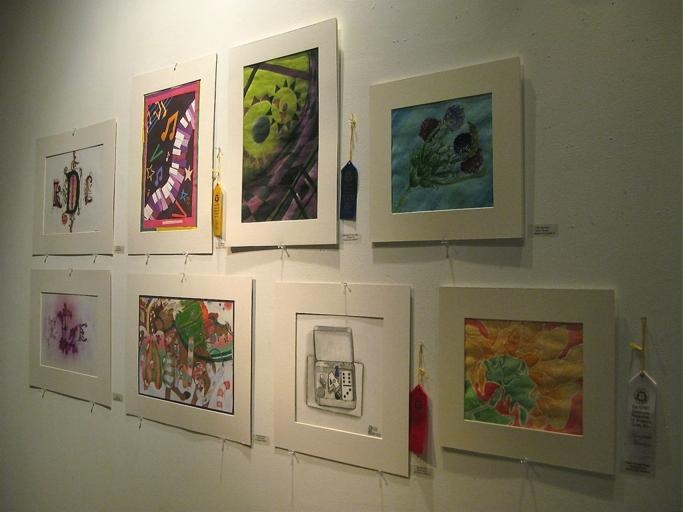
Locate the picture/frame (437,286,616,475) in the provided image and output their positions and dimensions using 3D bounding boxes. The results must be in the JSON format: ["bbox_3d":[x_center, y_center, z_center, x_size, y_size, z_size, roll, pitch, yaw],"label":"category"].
[{"bbox_3d":[0.651,0.424,1.907,0.560,0.654,0.028,0,0,21],"label":"picture/frame"}]

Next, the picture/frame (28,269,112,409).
[{"bbox_3d":[-1.284,0.396,2.701,0.581,0.694,0.028,2,0,29],"label":"picture/frame"}]

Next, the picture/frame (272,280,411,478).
[{"bbox_3d":[0.022,0.461,2.112,0.650,0.898,0.045,1,-1,24],"label":"picture/frame"}]

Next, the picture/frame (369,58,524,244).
[{"bbox_3d":[0.362,-0.363,2.038,0.564,0.738,0.048,-2,-31,19],"label":"picture/frame"}]

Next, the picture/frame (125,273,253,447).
[{"bbox_3d":[-0.623,0.438,2.384,0.648,0.748,0.030,2,0,29],"label":"picture/frame"}]

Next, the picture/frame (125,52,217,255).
[{"bbox_3d":[-0.741,-0.423,2.465,0.476,0.844,0.036,-1,-3,26],"label":"picture/frame"}]

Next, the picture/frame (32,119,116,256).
[{"bbox_3d":[-1.289,-0.310,2.719,0.497,0.589,0.018,-3,-6,23],"label":"picture/frame"}]
